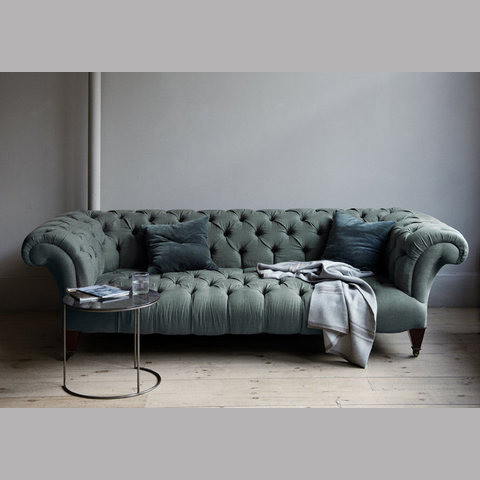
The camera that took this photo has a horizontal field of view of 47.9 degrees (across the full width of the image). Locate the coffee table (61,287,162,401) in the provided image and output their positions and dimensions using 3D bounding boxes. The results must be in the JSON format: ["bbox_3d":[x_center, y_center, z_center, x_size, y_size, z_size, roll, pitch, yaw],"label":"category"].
[{"bbox_3d":[-0.552,0.427,2.378,0.415,0.423,0.426,0,2,31],"label":"coffee table"}]

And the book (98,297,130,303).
[{"bbox_3d":[-0.504,0.240,2.200,0.136,0.015,0.040,-6,9,-42],"label":"book"}]

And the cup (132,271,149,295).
[{"bbox_3d":[-0.423,0.186,2.333,0.080,0.091,0.085,1,1,0],"label":"cup"}]
